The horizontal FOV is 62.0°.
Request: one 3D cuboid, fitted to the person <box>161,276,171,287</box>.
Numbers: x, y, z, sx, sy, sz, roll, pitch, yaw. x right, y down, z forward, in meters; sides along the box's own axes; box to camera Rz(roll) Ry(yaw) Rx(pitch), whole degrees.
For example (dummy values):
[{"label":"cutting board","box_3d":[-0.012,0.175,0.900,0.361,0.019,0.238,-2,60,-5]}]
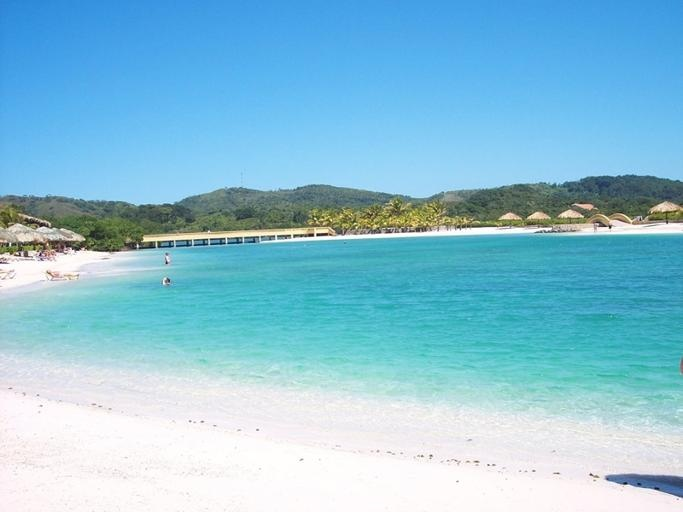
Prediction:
[{"label":"person","box_3d":[-16.299,2.320,50.093,0.878,0.783,2.327,0,1,-16]}]
